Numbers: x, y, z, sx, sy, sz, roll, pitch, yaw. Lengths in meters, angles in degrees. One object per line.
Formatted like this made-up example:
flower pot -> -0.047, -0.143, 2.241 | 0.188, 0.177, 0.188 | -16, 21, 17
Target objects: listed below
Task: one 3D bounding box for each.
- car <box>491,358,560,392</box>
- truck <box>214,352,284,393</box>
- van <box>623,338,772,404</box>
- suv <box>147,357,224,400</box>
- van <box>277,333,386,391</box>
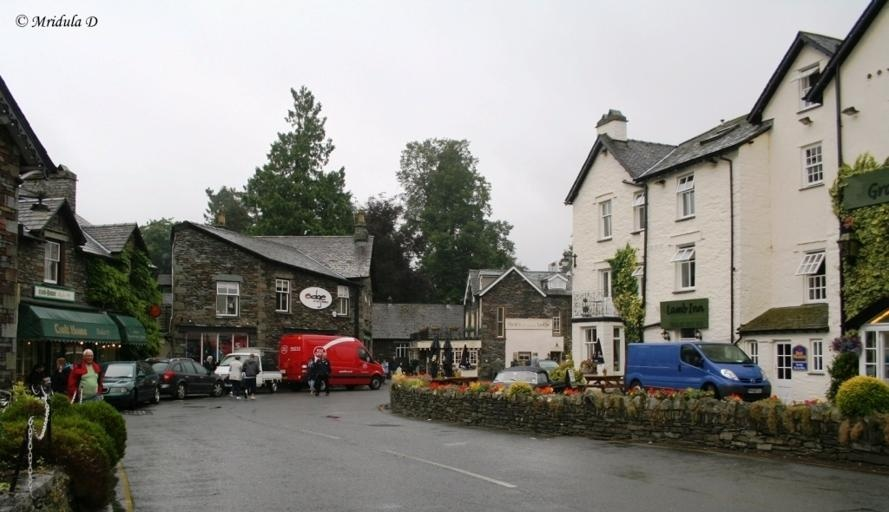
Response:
car -> 4.033, 5.464, 35.953 | 2.086, 1.717, 3.836 | -1, -1, 30
truck -> -11.271, 6.633, 45.424 | 3.147, 3.108, 5.949 | -1, -15, -4
van -> 10.753, 4.985, 34.019 | 2.992, 2.582, 6.113 | 3, -7, -26
suv -> -13.364, 6.332, 40.656 | 1.956, 1.798, 5.181 | -1, -5, 10
van -> -7.090, 6.780, 49.845 | 2.891, 3.227, 7.034 | -6, -10, 42
